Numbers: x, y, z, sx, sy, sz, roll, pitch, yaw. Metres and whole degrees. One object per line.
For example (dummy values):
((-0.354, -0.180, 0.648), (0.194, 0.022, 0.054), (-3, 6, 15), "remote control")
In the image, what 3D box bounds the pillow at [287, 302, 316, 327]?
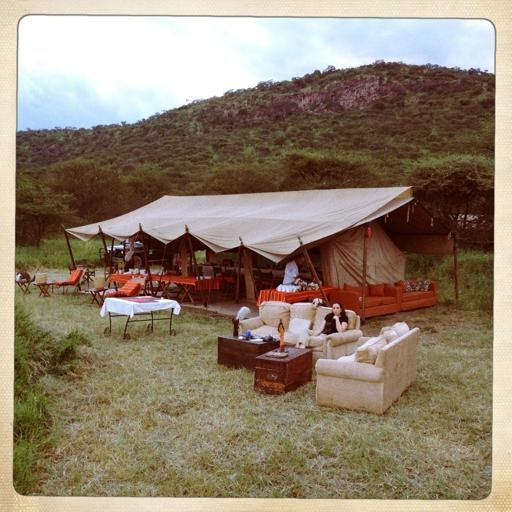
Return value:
((0.663, 0.875, 7.756), (0.299, 0.301, 0.109), (-2, -17, 39), "pillow")

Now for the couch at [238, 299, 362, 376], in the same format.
((0.581, 1.151, 7.641), (1.637, 0.850, 0.765), (4, 2, 40), "couch")

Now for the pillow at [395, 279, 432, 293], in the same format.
((3.766, 0.703, 12.573), (0.473, 0.148, 0.406), (-3, 10, -24), "pillow")

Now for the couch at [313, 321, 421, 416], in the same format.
((1.278, 1.271, 6.118), (0.772, 0.798, 1.208), (0, 1, 34), "couch")

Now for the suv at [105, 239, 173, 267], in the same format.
((-3.965, -0.067, 17.726), (2.011, 0.953, 1.187), (1, -2, -41), "suv")

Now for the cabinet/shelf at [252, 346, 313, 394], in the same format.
((0.273, 1.219, 6.340), (0.407, 0.371, 0.742), (1, 2, 35), "cabinet/shelf")

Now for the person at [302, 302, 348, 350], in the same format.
((0.989, 0.922, 7.196), (0.844, 0.524, 0.354), (-14, 11, -31), "person")

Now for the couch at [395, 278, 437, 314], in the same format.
((3.603, 0.923, 12.150), (0.515, 0.622, 1.625), (1, 1, 36), "couch")

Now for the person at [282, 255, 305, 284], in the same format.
((0.806, 0.301, 11.184), (0.316, 1.020, 0.413), (1, 10, -15), "person")

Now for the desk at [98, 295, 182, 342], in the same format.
((-1.854, 0.978, 8.816), (1.144, 0.553, 1.224), (-2, 1, 14), "desk")

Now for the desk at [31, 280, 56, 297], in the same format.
((-5.426, 0.867, 13.659), (0.493, 0.491, 0.644), (3, 2, 28), "desk")
